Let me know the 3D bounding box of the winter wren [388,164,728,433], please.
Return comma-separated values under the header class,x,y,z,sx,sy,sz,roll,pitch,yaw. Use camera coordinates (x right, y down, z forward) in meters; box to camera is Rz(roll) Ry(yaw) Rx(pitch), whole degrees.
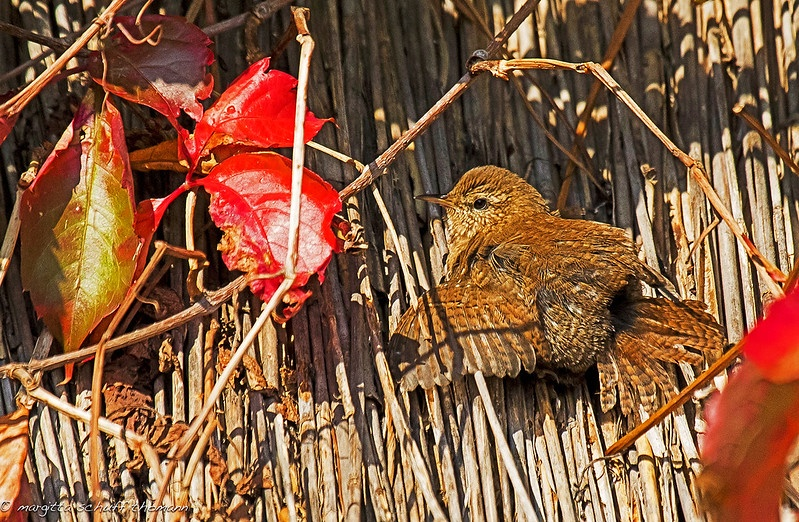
class,x,y,z,sx,sy,sz,roll,pitch,yaw
winter wren,0.461,0.146,4.461,0.805,0.435,0.963,6,27,39
